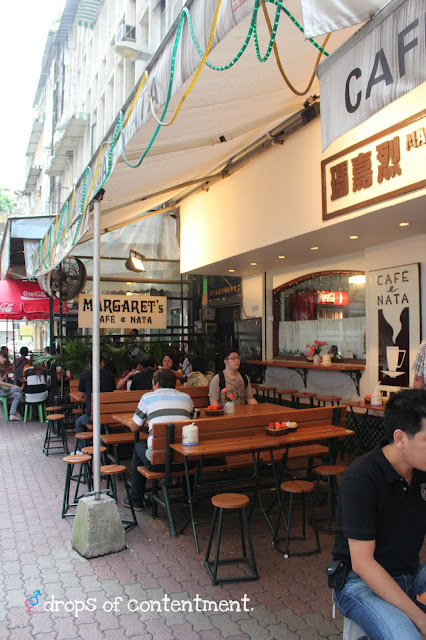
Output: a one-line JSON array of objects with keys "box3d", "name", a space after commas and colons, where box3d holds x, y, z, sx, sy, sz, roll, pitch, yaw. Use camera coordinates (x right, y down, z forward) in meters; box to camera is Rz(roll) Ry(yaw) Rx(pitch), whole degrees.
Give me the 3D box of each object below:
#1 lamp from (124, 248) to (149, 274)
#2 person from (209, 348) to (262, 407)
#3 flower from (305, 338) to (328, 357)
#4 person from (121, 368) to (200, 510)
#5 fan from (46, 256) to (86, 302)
[{"box3d": [-1.661, -1.232, 10.629, 0.298, 0.470, 0.641, -4, -10, 25], "name": "lamp"}, {"box3d": [0.236, 0.798, 6.001, 0.534, 0.869, 0.453, 0, -5, -21], "name": "person"}, {"box3d": [1.706, 0.481, 8.286, 0.291, 0.320, 0.310, 4, -9, 11], "name": "flower"}, {"box3d": [-0.517, 1.134, 4.687, 0.511, 1.286, 0.642, 6, -11, -32], "name": "person"}, {"box3d": [-2.369, -0.641, 8.136, 0.654, 0.873, 0.649, 0, 4, -27], "name": "fan"}]
